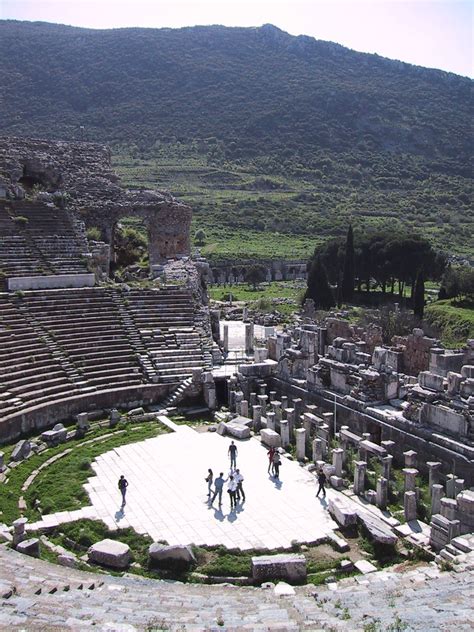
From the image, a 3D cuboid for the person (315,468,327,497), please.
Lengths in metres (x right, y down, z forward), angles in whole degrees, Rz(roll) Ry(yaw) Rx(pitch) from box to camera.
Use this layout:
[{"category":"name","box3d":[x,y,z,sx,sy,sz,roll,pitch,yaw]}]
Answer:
[{"category":"person","box3d":[2.511,4.915,17.480,0.291,0.848,1.029,1,10,9]}]

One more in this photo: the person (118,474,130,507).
[{"category":"person","box3d":[-3.366,4.967,17.002,0.215,0.908,1.007,-3,10,-11]}]

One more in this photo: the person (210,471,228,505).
[{"category":"person","box3d":[-0.588,4.999,16.827,0.422,0.928,0.838,-1,10,1]}]
